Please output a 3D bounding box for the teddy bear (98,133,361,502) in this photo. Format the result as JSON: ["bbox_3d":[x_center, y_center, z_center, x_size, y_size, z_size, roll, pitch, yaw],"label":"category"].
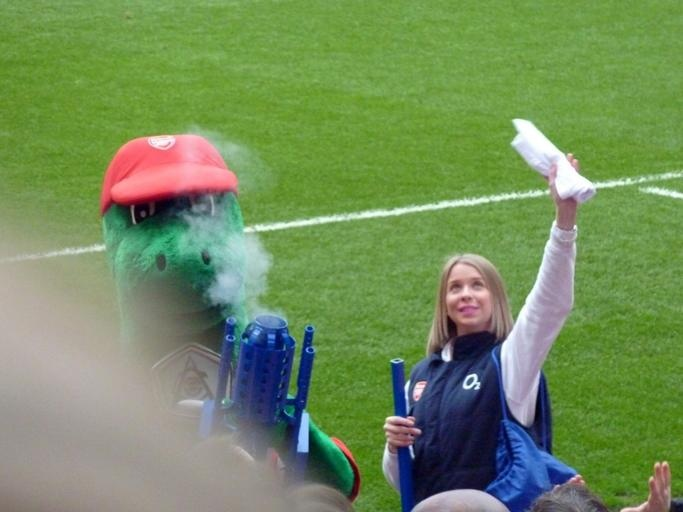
[{"bbox_3d":[-0.565,0.321,7.390,0.861,1.674,1.414,-7,16,-23],"label":"teddy bear"}]
